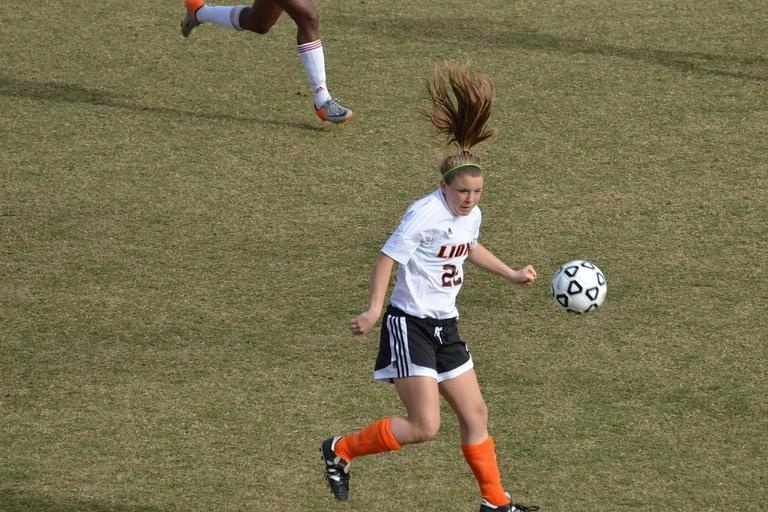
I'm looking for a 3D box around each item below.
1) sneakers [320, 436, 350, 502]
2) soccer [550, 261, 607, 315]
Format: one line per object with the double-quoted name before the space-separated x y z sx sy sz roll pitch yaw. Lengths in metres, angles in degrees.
"sneakers" -0.387 1.824 10.895 0.296 0.519 0.247 -10 5 43
"soccer" 1.772 0.281 11.576 0.516 0.412 0.449 1 89 2
